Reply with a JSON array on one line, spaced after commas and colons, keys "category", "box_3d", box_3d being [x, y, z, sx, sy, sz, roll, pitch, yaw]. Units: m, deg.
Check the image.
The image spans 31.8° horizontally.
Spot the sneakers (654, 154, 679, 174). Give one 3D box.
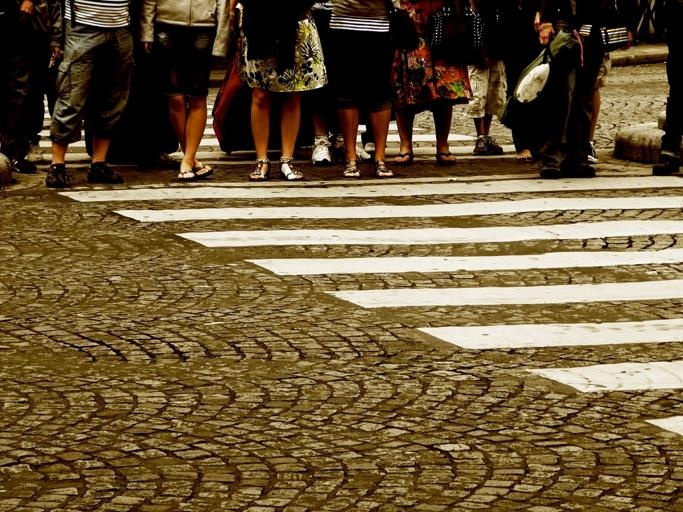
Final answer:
[{"category": "sneakers", "box_3d": [2.976, -0.836, 10.949, 0.274, 0.158, 0.219, 2, 9, 3]}]

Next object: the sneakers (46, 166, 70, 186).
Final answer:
[{"category": "sneakers", "box_3d": [-2.440, -0.686, 10.283, 0.209, 0.206, 0.267, 1, 10, -11]}]
